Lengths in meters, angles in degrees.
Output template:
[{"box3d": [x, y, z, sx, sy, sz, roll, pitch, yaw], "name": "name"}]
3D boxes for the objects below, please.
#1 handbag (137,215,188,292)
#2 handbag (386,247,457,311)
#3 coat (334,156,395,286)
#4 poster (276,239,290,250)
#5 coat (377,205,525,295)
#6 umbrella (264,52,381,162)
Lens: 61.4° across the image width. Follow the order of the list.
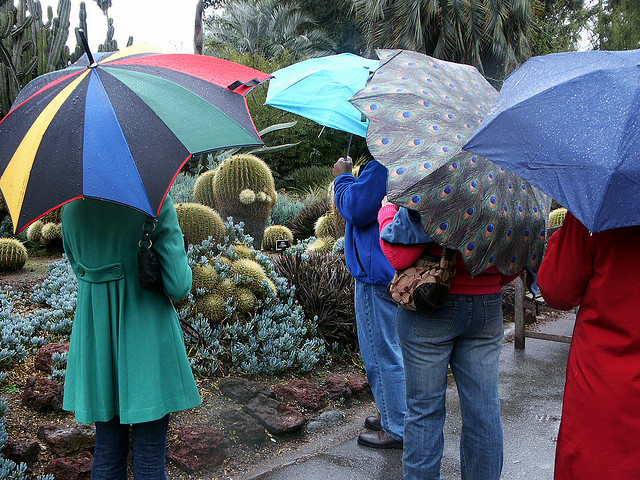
[{"box3d": [-0.824, 0.090, 3.027, 0.266, 0.526, 0.354, -1, -4, -6], "name": "handbag"}, {"box3d": [0.580, 0.215, 2.998, 0.382, 0.184, 0.285, -52, 19, -20], "name": "handbag"}, {"box3d": [0.275, -0.177, 3.915, 0.641, 0.801, 0.243, -27, 32, -34], "name": "coat"}, {"box3d": [-0.555, 0.074, 7.896, 0.162, 0.144, 0.302, -1, 9, -7], "name": "poster"}, {"box3d": [0.854, 0.001, 3.073, 0.360, 0.567, 0.683, 10, -14, -38], "name": "coat"}, {"box3d": [0.001, -1.215, 4.229, 0.876, 0.681, 0.934, 0, 47, -4], "name": "umbrella"}]
